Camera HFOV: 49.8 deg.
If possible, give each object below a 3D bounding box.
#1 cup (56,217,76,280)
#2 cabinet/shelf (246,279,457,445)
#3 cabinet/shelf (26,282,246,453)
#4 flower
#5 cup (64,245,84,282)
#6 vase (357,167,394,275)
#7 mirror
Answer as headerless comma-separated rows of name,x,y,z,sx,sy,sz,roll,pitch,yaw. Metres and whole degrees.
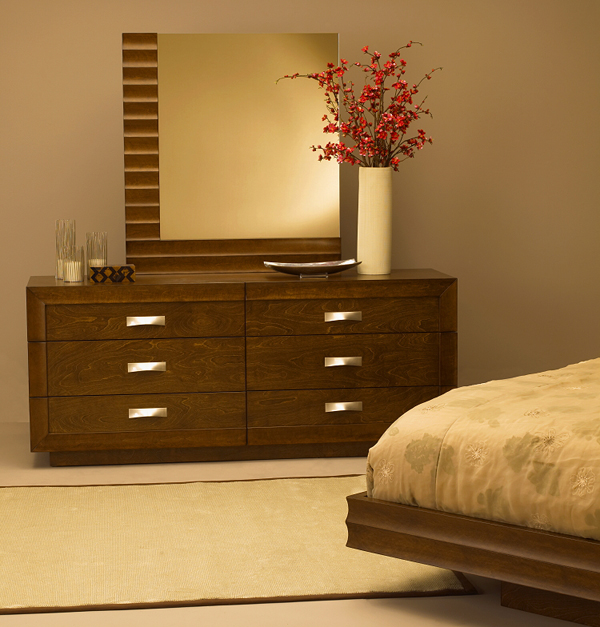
cup,-0.964,-0.263,2.672,0.093,0.244,0.097,2,7,0
cabinet/shelf,0.163,0.205,2.949,1.325,0.797,0.654,-1,3,-6
cabinet/shelf,-0.661,0.190,2.521,0.820,0.565,0.366,0,1,-8
flower,0.317,-0.751,2.871,0.496,0.544,0.504,-3,-18,21
cup,-0.912,-0.192,2.605,0.077,0.138,0.088,-4,6,-18
vase,0.327,-0.402,2.805,0.151,0.466,0.051,-2,6,5
mirror,-0.399,-0.568,2.999,0.795,0.690,0.063,-8,27,-32
